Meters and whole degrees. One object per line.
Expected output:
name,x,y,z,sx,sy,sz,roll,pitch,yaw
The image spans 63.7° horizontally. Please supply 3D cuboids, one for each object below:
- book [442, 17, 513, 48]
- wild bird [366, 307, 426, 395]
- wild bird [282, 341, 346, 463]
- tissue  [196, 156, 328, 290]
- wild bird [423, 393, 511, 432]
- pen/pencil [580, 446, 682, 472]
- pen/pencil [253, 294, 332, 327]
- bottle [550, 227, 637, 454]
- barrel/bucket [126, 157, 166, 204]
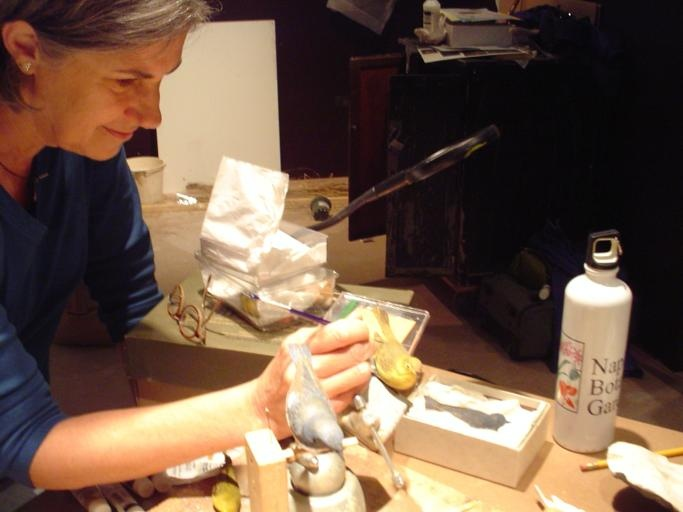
book,0.376,-0.605,1.499,0.180,0.068,0.076,4,20,8
wild bird,0.080,0.169,1.012,0.073,0.154,0.065,-13,-25,-33
wild bird,-0.032,0.160,0.688,0.051,0.161,0.084,-7,-7,-17
tissue ,-0.149,-0.063,1.106,0.243,0.229,0.266,-1,16,-26
wild bird,0.221,0.278,0.998,0.088,0.027,0.061,0,11,15
pen/pencil,0.498,0.350,0.948,0.199,0.025,0.023,-8,-12,-8
pen/pencil,-0.100,0.104,1.054,0.134,0.016,0.015,22,-12,-10
bottle,0.457,0.149,0.988,0.114,0.406,0.123,0,19,0
barrel/bucket,-0.549,-0.222,1.573,0.103,0.096,0.115,8,26,10
